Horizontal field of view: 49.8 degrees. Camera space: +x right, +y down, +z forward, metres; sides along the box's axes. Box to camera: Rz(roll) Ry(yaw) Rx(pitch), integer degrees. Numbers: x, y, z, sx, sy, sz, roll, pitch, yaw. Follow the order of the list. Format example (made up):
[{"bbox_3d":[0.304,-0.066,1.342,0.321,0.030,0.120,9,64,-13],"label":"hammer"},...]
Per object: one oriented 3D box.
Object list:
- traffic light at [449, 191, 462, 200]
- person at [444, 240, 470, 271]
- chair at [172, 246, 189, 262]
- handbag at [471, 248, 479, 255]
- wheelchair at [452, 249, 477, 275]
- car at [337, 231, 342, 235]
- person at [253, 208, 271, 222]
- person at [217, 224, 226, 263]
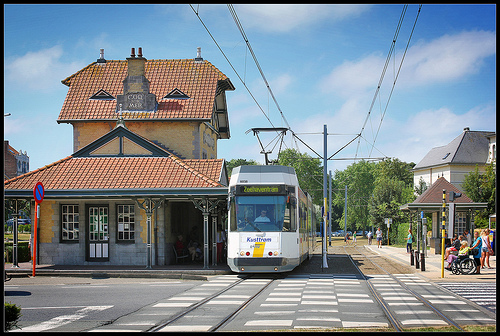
[{"bbox_3d":[8.840,1.175,23.121,0.424,0.423,0.428,-1,-6,17],"label":"traffic light"},{"bbox_3d":[9.642,3.860,24.767,1.340,1.462,0.753,3,38,18],"label":"person"},{"bbox_3d":[-3.669,4.501,28.434,0.865,1.196,0.709,-3,-3,19],"label":"chair"},{"bbox_3d":[10.466,3.817,24.935,0.296,0.234,0.296,-2,-17,8],"label":"handbag"},{"bbox_3d":[9.875,4.141,24.663,1.061,1.237,0.873,-3,12,14],"label":"wheelchair"},{"bbox_3d":[18.705,13.410,111.699,1.240,1.035,3.099,-4,-10,9],"label":"car"},{"bbox_3d":[0.486,2.080,22.755,0.839,0.643,0.424,3,-11,-10],"label":"person"},{"bbox_3d":[-1.567,3.939,28.631,0.442,1.987,1.204,-2,-9,-3],"label":"person"}]
